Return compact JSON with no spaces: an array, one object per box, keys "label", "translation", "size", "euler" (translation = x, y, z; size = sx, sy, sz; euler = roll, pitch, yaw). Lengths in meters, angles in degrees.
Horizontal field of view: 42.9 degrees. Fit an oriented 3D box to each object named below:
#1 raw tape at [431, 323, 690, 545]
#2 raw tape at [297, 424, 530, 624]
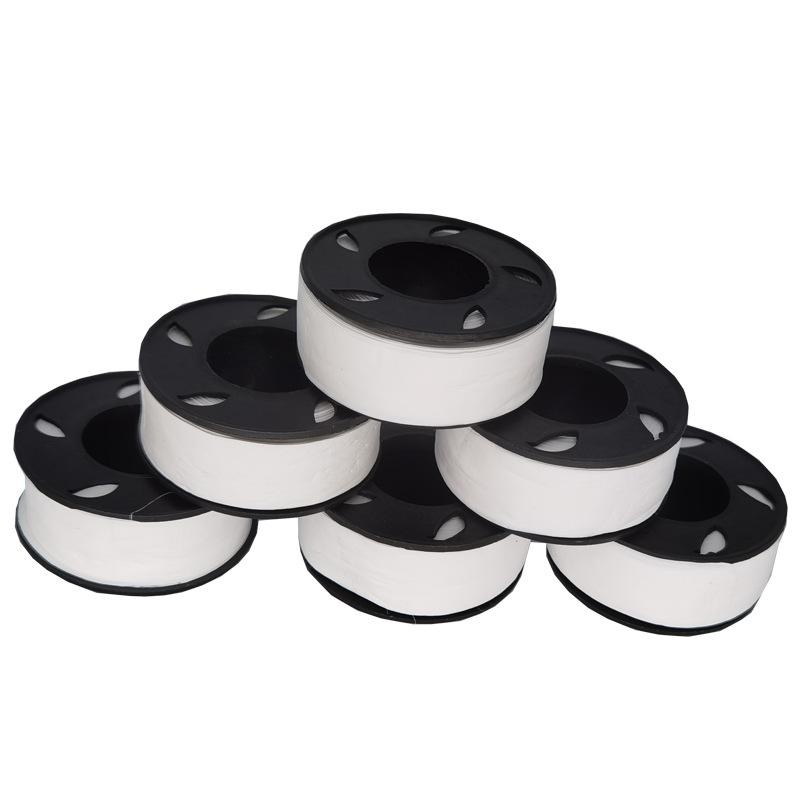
[{"label":"raw tape","translation":[0.549,-0.001,4.251],"size":[1.052,0.413,0.860],"euler":[-24,75,-39]},{"label":"raw tape","translation":[0.105,0.507,4.454],"size":[1.079,0.257,0.829],"euler":[2,13,5]}]
